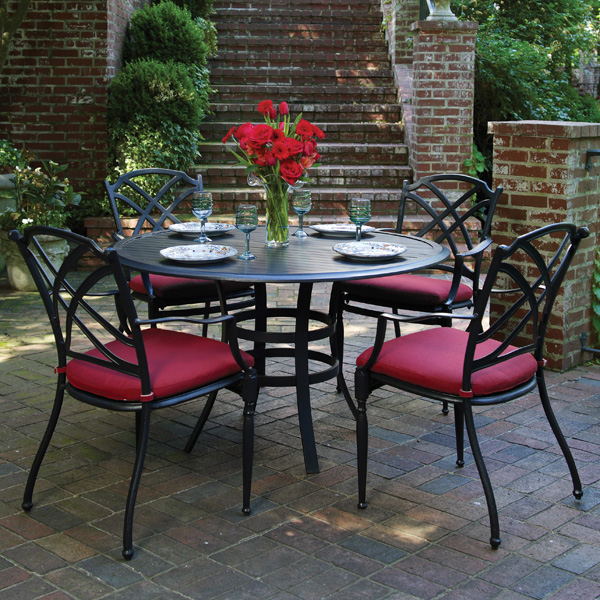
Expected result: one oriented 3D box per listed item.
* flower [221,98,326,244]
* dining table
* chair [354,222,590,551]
[{"bbox_3d":[-0.050,-0.561,2.720,0.632,0.577,0.522,10,23,11],"label":"flower"},{"bbox_3d":[-0.216,0.033,2.750,1.506,0.682,1.286,-6,13,-28],"label":"dining table"},{"bbox_3d":[0.656,0.252,2.350,0.916,0.826,0.790,-1,0,19],"label":"chair"}]
